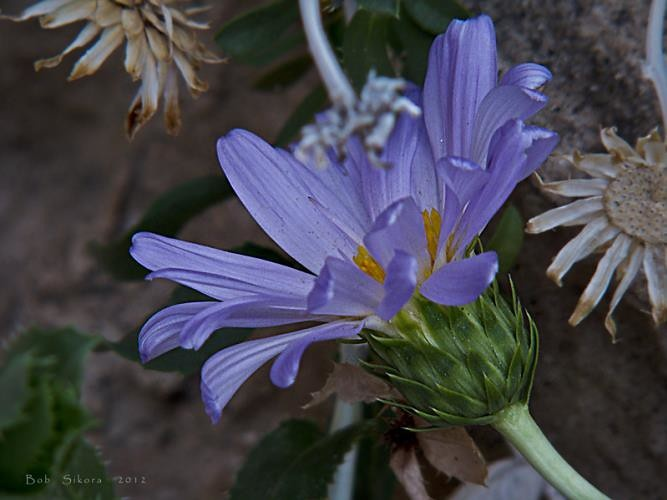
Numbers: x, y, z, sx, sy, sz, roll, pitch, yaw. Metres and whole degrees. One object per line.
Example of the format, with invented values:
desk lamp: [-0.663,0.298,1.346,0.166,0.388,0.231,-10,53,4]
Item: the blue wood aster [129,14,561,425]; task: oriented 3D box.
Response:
blue wood aster: [0.046,-0.025,0.661,0.300,0.143,0.347,-23,33,35]
